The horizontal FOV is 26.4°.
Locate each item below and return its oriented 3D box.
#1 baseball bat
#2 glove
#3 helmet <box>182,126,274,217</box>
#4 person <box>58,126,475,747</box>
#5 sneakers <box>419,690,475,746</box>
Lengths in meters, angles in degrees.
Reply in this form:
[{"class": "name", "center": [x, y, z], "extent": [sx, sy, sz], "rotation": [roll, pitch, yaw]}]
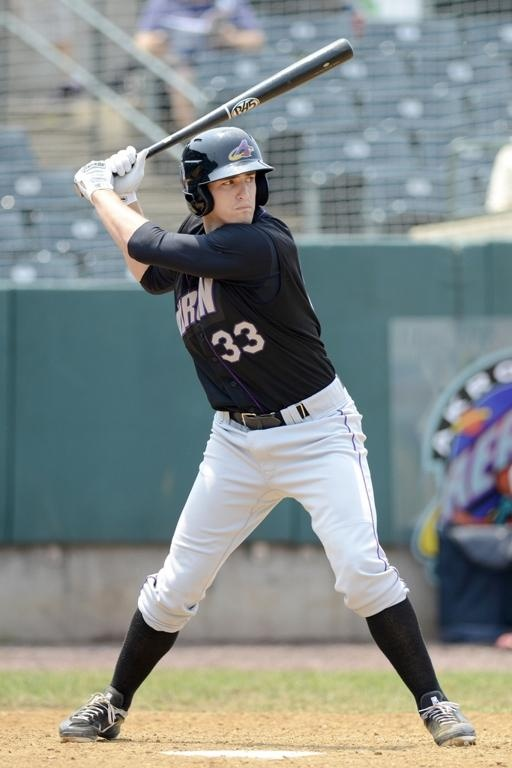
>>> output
[{"class": "baseball bat", "center": [-0.085, -0.843, 3.430], "extent": [0.869, 0.105, 0.164], "rotation": [-31, 18, 4]}, {"class": "glove", "center": [-0.387, -0.598, 3.188], "extent": [0.238, 0.183, 0.108], "rotation": [0, 24, -31]}, {"class": "helmet", "center": [-0.088, -0.573, 3.004], "extent": [0.226, 0.198, 0.276], "rotation": [3, -8, -38]}, {"class": "person", "center": [0.027, 0.197, 2.969], "extent": [1.111, 1.598, 0.357], "rotation": [2, 4, 4]}, {"class": "sneakers", "center": [0.478, 0.866, 2.885], "extent": [0.086, 0.079, 0.179], "rotation": [-37, 24, -4]}]
